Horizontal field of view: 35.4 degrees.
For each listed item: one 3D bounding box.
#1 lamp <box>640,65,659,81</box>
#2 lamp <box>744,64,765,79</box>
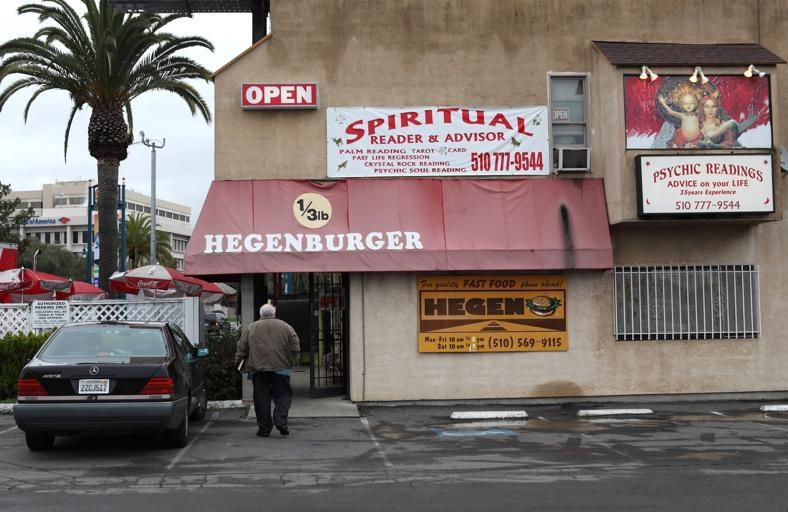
[{"bbox_3d":[6.119,-4.399,29.616,0.369,0.368,0.380,-7,21,13],"label":"lamp"},{"bbox_3d":[8.658,-4.452,29.733,0.569,0.264,0.238,5,1,-4],"label":"lamp"}]
